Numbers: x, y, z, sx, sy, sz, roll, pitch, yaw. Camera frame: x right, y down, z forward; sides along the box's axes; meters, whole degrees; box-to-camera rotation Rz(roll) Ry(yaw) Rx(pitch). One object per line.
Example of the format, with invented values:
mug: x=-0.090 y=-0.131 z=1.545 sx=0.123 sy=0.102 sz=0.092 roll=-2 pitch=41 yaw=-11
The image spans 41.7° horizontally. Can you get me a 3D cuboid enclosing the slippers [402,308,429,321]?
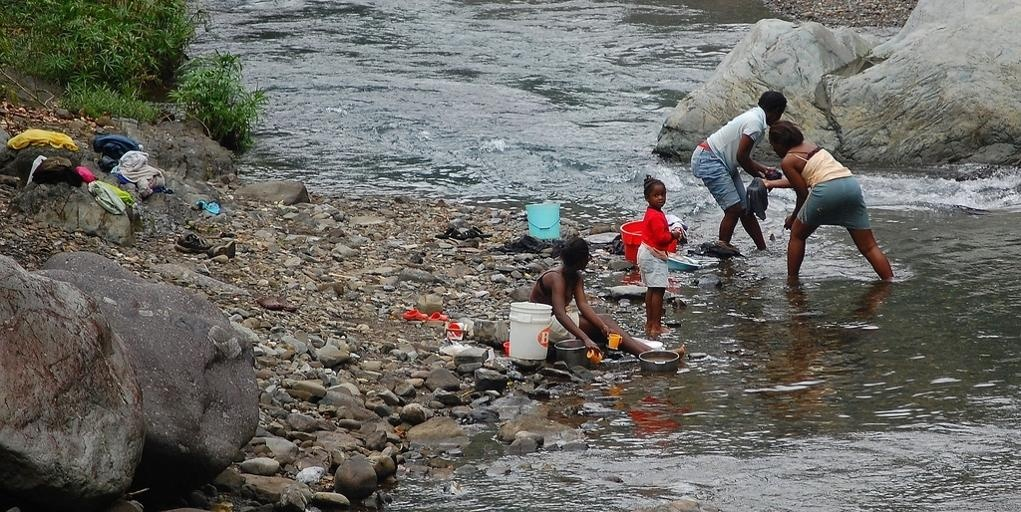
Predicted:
slippers: x=-1.600 y=0.967 z=22.476 sx=0.450 sy=0.131 sz=0.178 roll=3 pitch=21 yaw=-10

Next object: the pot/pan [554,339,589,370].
pot/pan: x=1.013 y=1.561 z=21.604 sx=0.595 sy=0.289 sz=0.463 roll=1 pitch=4 yaw=3

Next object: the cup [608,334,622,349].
cup: x=1.709 y=1.368 z=21.768 sx=0.228 sy=0.271 sz=0.092 roll=0 pitch=20 yaw=3

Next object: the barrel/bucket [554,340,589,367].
barrel/bucket: x=0.980 y=1.562 z=21.612 sx=0.581 sy=0.285 sz=0.449 roll=1 pitch=6 yaw=2

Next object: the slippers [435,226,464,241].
slippers: x=-1.152 y=-0.450 z=24.944 sx=0.498 sy=0.212 sz=0.248 roll=-2 pitch=17 yaw=-6

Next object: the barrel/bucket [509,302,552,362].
barrel/bucket: x=0.317 y=1.202 z=21.645 sx=0.676 sy=0.911 sz=0.401 roll=-1 pitch=19 yaw=0

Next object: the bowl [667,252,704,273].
bowl: x=3.120 y=0.100 z=24.015 sx=0.607 sy=0.125 sz=0.368 roll=6 pitch=10 yaw=-23

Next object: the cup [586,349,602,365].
cup: x=1.377 y=1.589 z=21.622 sx=0.289 sy=0.257 sz=0.114 roll=-6 pitch=20 yaw=-17
